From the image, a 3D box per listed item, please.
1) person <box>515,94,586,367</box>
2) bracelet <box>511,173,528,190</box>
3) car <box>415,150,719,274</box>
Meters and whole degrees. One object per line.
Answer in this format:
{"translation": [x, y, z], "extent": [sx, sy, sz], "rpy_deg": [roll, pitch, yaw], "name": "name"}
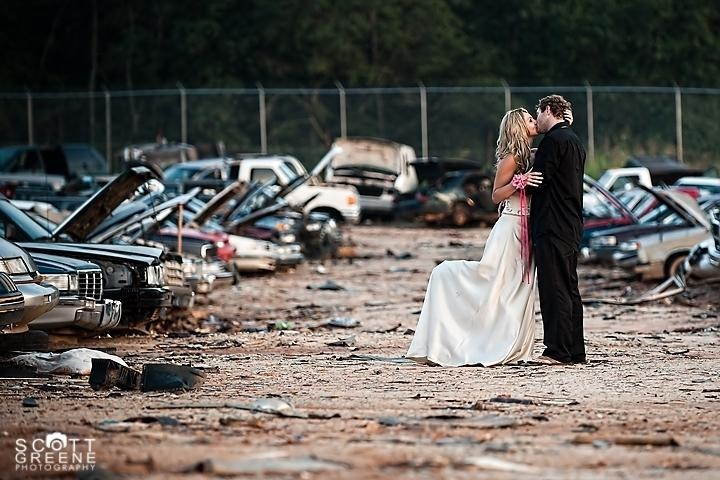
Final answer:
{"translation": [2.971, -0.134, 21.183], "extent": [0.812, 3.887, 0.882], "rpy_deg": [1, 11, 7], "name": "person"}
{"translation": [2.387, -0.851, 21.110], "extent": [0.263, 0.246, 0.069], "rpy_deg": [-1, 0, -8], "name": "bracelet"}
{"translation": [4.022, -0.451, 27.795], "extent": [4.464, 1.902, 2.763], "rpy_deg": [5, 4, 8], "name": "car"}
